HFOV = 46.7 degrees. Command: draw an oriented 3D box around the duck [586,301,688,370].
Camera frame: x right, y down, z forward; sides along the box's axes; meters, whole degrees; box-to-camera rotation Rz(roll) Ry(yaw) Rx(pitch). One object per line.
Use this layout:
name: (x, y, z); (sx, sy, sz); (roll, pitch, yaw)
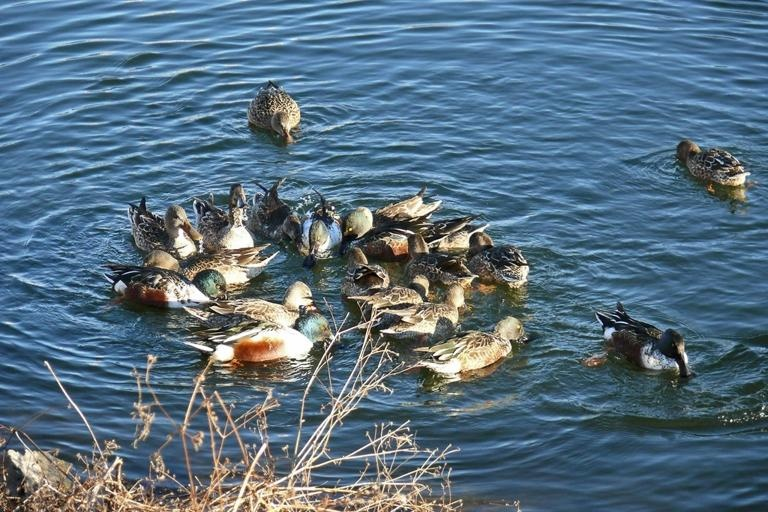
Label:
duck: (4.870, 1.518, 16.712); (0.884, 0.890, 2.000); (-38, 51, -18)
